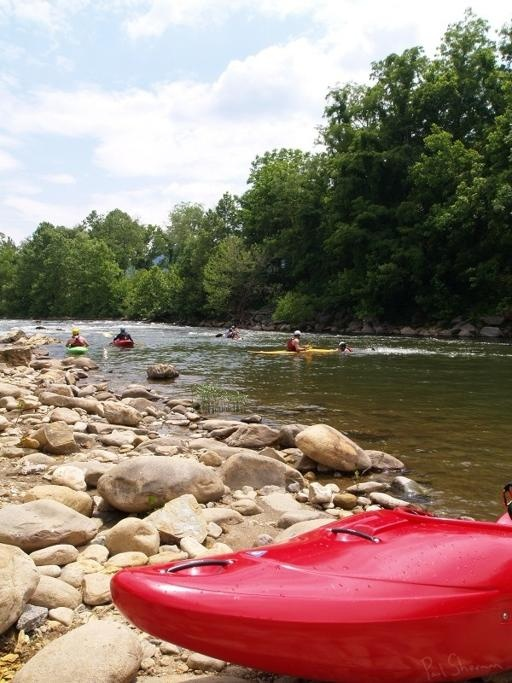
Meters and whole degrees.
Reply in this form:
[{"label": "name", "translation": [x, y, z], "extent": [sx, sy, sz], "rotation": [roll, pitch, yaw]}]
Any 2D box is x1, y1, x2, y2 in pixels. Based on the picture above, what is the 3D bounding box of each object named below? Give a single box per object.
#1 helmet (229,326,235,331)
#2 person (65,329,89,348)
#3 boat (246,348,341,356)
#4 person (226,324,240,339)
[{"label": "helmet", "translation": [-1.271, -0.712, 31.853], "extent": [0.381, 0.214, 0.493], "rotation": [-11, 5, -17]}, {"label": "person", "translation": [-6.764, -0.056, 22.354], "extent": [0.856, 0.547, 1.437], "rotation": [1, 10, -13]}, {"label": "boat", "translation": [1.378, 0.367, 21.386], "extent": [3.133, 0.232, 2.351], "rotation": [-2, 1, 13]}, {"label": "person", "translation": [-1.207, -0.489, 31.667], "extent": [0.516, 0.736, 1.402], "rotation": [2, 6, -1]}]
